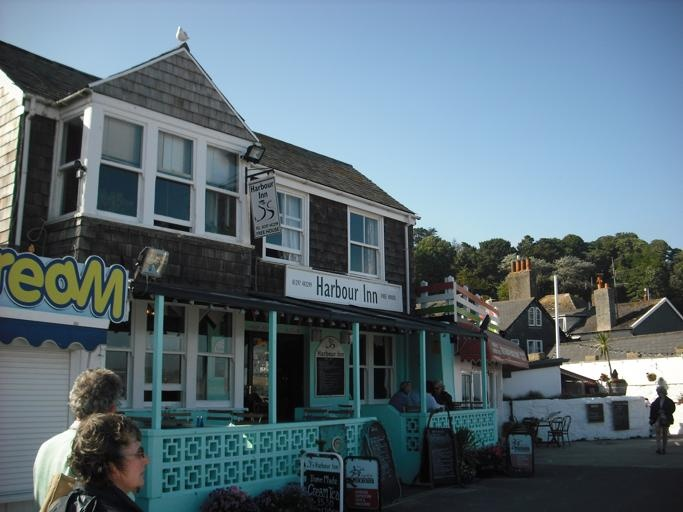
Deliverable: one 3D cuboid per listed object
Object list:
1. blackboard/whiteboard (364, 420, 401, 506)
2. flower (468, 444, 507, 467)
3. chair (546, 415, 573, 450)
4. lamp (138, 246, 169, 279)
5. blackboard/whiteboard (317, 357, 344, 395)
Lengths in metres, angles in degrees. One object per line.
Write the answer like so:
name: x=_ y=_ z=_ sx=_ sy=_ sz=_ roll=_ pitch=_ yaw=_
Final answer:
blackboard/whiteboard: x=0.773 y=4.202 z=13.975 sx=0.735 sy=1.435 sz=0.281 roll=16 pitch=-40 yaw=-39
flower: x=3.563 y=4.796 z=16.499 sx=0.694 sy=0.462 sz=0.719 roll=-2 pitch=-1 yaw=7
chair: x=8.027 y=6.447 z=25.248 sx=0.801 sy=1.415 sz=0.863 roll=-18 pitch=-34 yaw=40
lamp: x=-3.449 y=0.103 z=12.474 sx=0.284 sy=0.455 sz=0.470 roll=24 pitch=5 yaw=36
blackboard/whiteboard: x=-0.298 y=2.979 z=17.328 sx=0.113 sy=1.117 sz=1.207 roll=-9 pitch=-14 yaw=39
